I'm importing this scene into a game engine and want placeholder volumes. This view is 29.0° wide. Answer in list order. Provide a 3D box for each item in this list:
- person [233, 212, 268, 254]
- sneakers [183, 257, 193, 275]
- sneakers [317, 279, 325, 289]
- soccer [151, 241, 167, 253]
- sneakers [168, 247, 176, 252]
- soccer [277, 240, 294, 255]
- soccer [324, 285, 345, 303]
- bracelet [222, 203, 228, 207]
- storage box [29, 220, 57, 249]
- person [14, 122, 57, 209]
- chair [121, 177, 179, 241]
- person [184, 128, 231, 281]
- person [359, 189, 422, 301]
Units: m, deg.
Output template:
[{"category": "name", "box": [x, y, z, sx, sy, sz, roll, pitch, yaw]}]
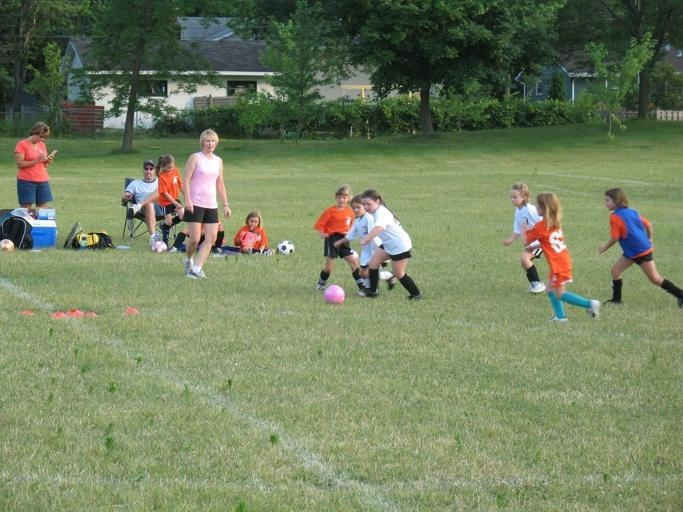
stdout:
[{"category": "person", "box": [-2.415, -0.672, 36.907, 1.075, 1.145, 0.787, 5, 4, 15]}, {"category": "sneakers", "box": [-3.912, 0.220, 34.185, 0.158, 0.460, 0.209, -2, 6, -3]}, {"category": "sneakers", "box": [-0.478, 0.666, 33.854, 0.225, 0.201, 0.244, 0, 6, -5]}, {"category": "soccer", "box": [-4.957, -0.303, 36.568, 0.336, 0.326, 0.183, 6, 28, -12]}, {"category": "sneakers", "box": [-4.617, -0.214, 36.511, 0.238, 0.121, 0.381, -1, 6, -6]}, {"category": "soccer", "box": [-1.519, -0.304, 36.815, 0.389, 0.381, 0.388, 3, 21, 6]}, {"category": "soccer", "box": [-0.124, 0.924, 32.823, 0.503, 0.426, 0.430, -6, -14, -3]}, {"category": "bracelet", "box": [-2.956, -1.385, 34.452, 0.119, 0.076, 0.112, -6, -6, 26]}, {"category": "storage box", "box": [-8.105, -0.641, 36.175, 0.738, 0.722, 0.544, 1, 2, -10]}, {"category": "person", "box": [-8.524, -2.556, 37.006, 1.003, 2.440, 1.513, -1, 5, -12]}, {"category": "chair", "box": [-5.436, -1.285, 38.238, 1.599, 1.712, 1.612, -3, -1, -28]}, {"category": "person", "box": [-3.591, -1.347, 34.277, 1.280, 3.872, 1.116, 5, -5, -35]}, {"category": "person", "box": [1.199, -0.330, 32.904, 1.299, 2.736, 0.840, 0, 5, 0]}]
